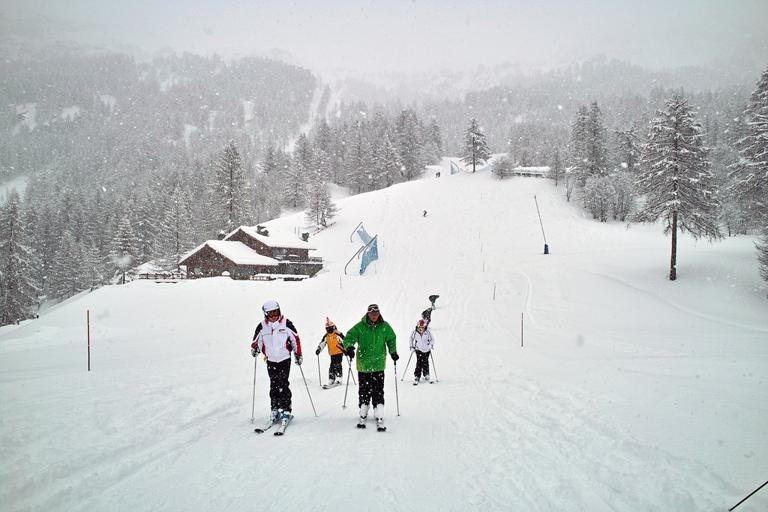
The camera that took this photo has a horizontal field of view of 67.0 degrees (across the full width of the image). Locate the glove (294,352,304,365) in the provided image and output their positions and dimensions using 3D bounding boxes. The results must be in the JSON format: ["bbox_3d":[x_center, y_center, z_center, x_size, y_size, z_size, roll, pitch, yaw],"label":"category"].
[{"bbox_3d":[-4.513,5.413,30.436,0.531,0.587,0.241,0,3,7],"label":"glove"}]
